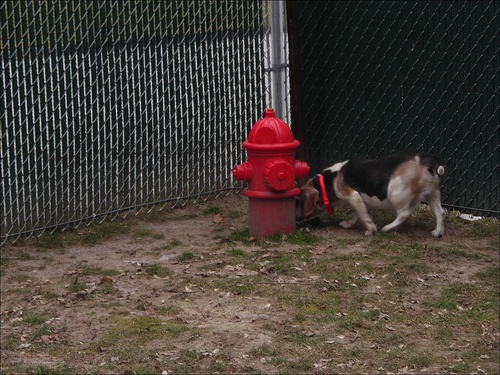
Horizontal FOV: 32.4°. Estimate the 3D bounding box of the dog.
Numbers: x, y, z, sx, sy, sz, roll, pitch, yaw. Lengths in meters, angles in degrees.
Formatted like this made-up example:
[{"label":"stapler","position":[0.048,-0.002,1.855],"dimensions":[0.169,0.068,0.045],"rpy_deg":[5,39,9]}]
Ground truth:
[{"label":"dog","position":[1.139,0.043,10.164],"dimensions":[2.162,1.278,0.747],"rpy_deg":[3,5,35]}]
